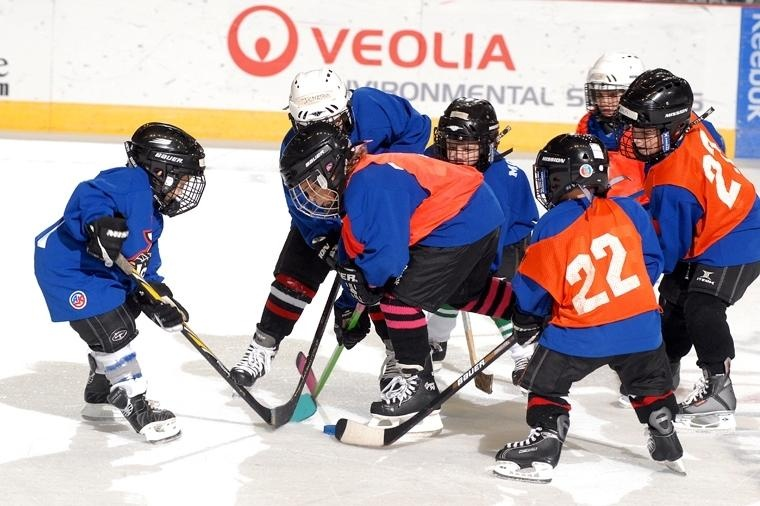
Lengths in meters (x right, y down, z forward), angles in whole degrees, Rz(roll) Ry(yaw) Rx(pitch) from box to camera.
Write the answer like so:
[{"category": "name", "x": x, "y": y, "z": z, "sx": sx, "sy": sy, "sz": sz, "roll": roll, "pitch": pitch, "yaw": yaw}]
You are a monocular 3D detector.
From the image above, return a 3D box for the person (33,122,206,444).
[{"category": "person", "x": -1.253, "y": 0.114, "z": 3.876, "sx": 0.790, "sy": 1.418, "sz": 0.674, "roll": 0, "pitch": 16, "yaw": -8}]

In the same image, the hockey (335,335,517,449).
[{"category": "hockey", "x": 0.226, "y": 0.709, "z": 4.107, "sx": 0.890, "sy": 0.131, "sz": 0.096, "roll": -30, "pitch": -8, "yaw": -10}]

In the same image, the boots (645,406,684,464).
[{"category": "boots", "x": 1.297, "y": 0.819, "z": 3.748, "sx": 0.150, "sy": 0.228, "sz": 0.255, "roll": -15, "pitch": 9, "yaw": 4}]

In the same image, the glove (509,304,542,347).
[{"category": "glove", "x": 0.686, "y": 0.339, "z": 3.889, "sx": 0.190, "sy": 0.152, "sz": 0.132, "roll": -4, "pitch": 4, "yaw": -4}]

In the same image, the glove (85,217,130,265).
[{"category": "glove", "x": -1.236, "y": -0.058, "z": 3.704, "sx": 0.194, "sy": 0.201, "sz": 0.229, "roll": 0, "pitch": 8, "yaw": -13}]

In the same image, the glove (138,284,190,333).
[{"category": "glove", "x": -1.038, "y": 0.266, "z": 3.943, "sx": 0.273, "sy": 0.108, "sz": 0.178, "roll": 34, "pitch": 43, "yaw": 2}]

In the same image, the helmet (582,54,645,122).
[{"category": "helmet", "x": 1.334, "y": -1.044, "z": 5.033, "sx": 0.449, "sy": 0.371, "sz": 0.339, "roll": -6, "pitch": 6, "yaw": -20}]
